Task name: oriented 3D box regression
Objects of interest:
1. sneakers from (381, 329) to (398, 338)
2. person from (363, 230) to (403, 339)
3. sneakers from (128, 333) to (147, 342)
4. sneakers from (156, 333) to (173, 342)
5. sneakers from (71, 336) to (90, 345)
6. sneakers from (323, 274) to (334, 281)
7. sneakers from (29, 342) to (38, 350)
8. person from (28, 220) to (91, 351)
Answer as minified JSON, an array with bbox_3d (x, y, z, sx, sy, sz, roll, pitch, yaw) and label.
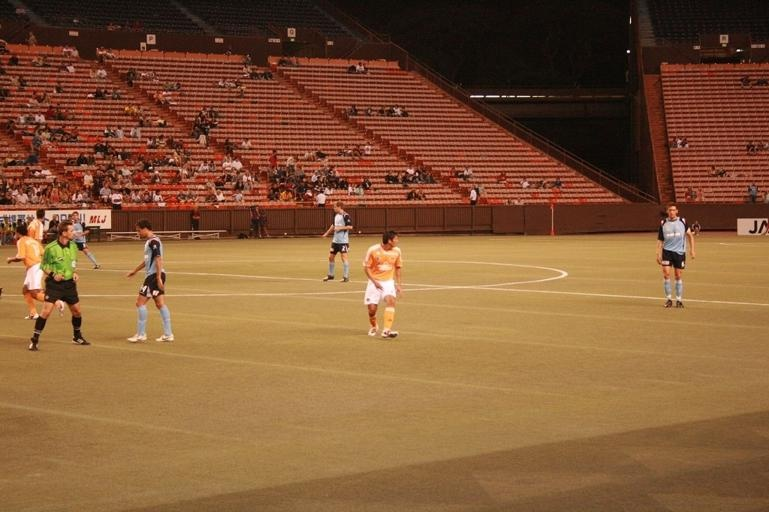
[{"bbox_3d":[0.149,1.614,18.840,0.362,0.165,0.148,-5,-2,10],"label":"sneakers"},{"bbox_3d":[-0.006,0.548,19.208,0.729,2.218,1.068,1,4,2],"label":"person"},{"bbox_3d":[-4.977,1.663,18.297,0.444,0.222,0.161,0,-4,7],"label":"sneakers"},{"bbox_3d":[-4.430,1.665,18.365,0.392,0.167,0.142,1,-6,11],"label":"sneakers"},{"bbox_3d":[-6.009,1.703,18.118,0.417,0.192,0.146,4,2,9],"label":"sneakers"},{"bbox_3d":[-1.770,0.690,29.205,0.152,0.157,0.366,2,2,-30],"label":"sneakers"},{"bbox_3d":[-6.797,1.763,17.621,0.106,0.125,0.278,1,-5,-35],"label":"sneakers"},{"bbox_3d":[-6.389,0.549,17.941,1.068,2.487,1.408,0,4,-19],"label":"person"}]
